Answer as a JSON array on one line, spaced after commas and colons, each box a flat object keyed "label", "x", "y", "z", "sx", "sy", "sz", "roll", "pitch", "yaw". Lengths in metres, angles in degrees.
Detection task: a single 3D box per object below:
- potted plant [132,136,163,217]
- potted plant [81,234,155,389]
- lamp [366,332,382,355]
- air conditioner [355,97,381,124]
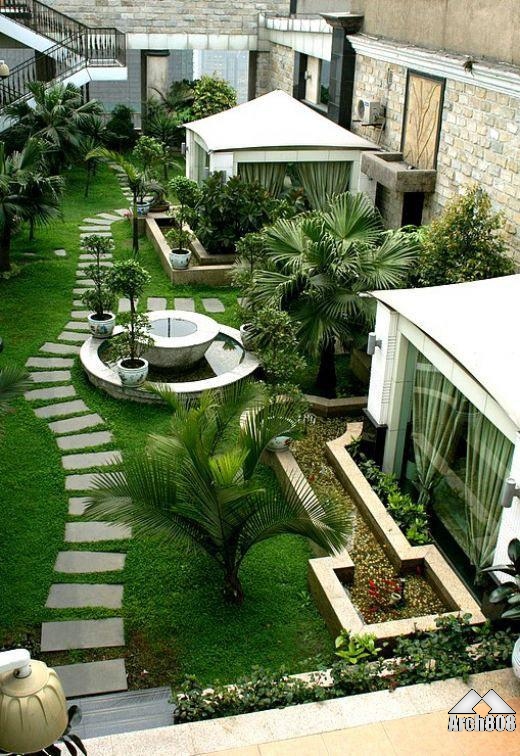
[{"label": "potted plant", "x": -2.704, "y": -4.777, "z": 12.652, "sx": 0.854, "sy": 1.820, "sz": 0.857, "roll": 12, "pitch": 16, "yaw": 13}, {"label": "potted plant", "x": -2.096, "y": -1.180, "z": 7.835, "sx": 0.920, "sy": 1.268, "sz": 3.228, "roll": -4, "pitch": 34, "yaw": -15}, {"label": "lamp", "x": 1.182, "y": -0.342, "z": 5.591, "sx": 0.125, "sy": 0.256, "sz": 0.228, "roll": -1, "pitch": 11, "yaw": -1}, {"label": "air conditioner", "x": 2.242, "y": -5.483, "z": 10.984, "sx": 0.408, "sy": 0.659, "sz": 0.764, "roll": -3, "pitch": 19, "yaw": -6}]
